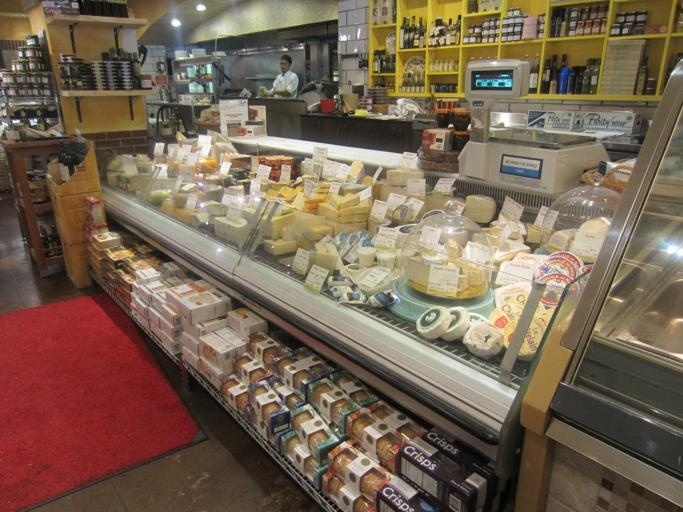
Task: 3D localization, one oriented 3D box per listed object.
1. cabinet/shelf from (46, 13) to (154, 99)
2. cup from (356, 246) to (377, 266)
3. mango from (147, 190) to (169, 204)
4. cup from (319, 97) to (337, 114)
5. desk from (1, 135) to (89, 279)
[{"bbox_3d":[-2.608,-2.136,4.770,0.895,0.709,0.334,-14,31,-36],"label":"cabinet/shelf"},{"bbox_3d":[0.112,-0.005,2.049,0.090,0.059,0.069,16,28,23],"label":"cup"},{"bbox_3d":[-1.419,-0.450,3.425,0.158,0.116,0.094,0,-3,30],"label":"mango"},{"bbox_3d":[-0.227,-2.353,6.907,0.314,0.212,0.230,3,29,2],"label":"cup"},{"bbox_3d":[-2.877,-0.455,4.294,0.707,1.387,1.416,-13,21,-34],"label":"desk"}]
